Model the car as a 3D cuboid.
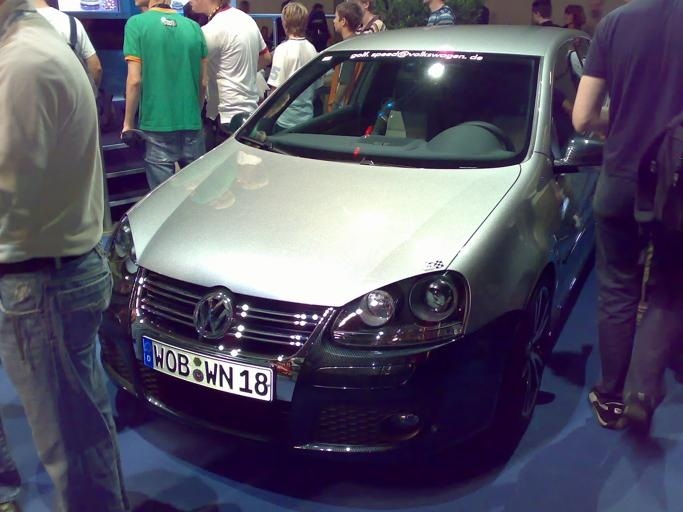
[{"bbox_3d":[0.376,-0.297,3.067,1.607,1.327,2.929,9,29,21],"label":"car"}]
